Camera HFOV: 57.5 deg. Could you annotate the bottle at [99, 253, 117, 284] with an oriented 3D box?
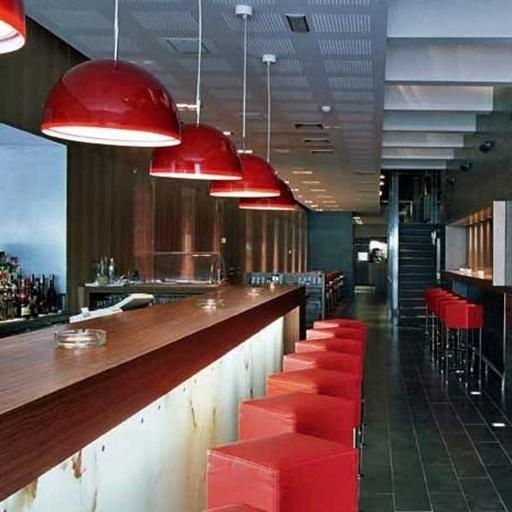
[{"bbox_3d":[-1.909,0.165,5.961,0.157,0.339,0.609,0,0,-9],"label":"bottle"}]
